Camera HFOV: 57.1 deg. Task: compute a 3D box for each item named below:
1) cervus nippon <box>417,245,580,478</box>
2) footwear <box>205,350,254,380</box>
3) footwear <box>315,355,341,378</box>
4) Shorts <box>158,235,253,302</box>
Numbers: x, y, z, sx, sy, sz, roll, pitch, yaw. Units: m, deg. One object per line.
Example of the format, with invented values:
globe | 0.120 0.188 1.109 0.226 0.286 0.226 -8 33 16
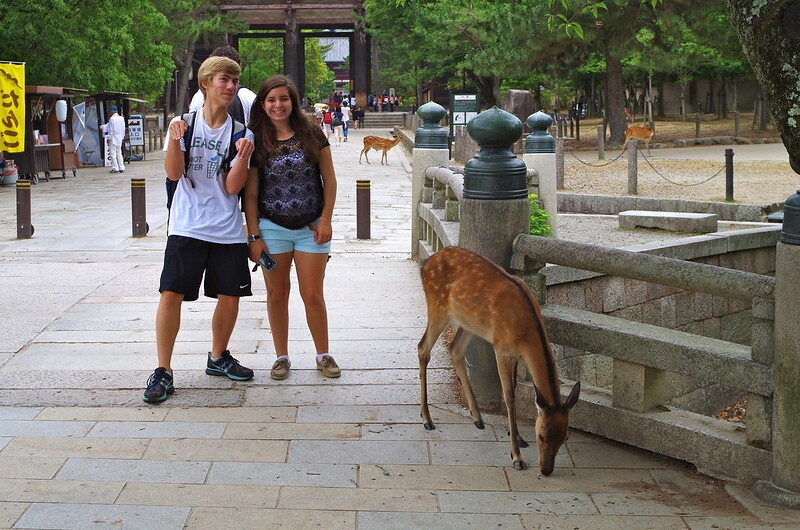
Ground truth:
cervus nippon | 0.614 0.511 4.751 0.975 1.421 1.178 1 0 -13
footwear | -1.313 0.796 5.777 0.451 0.201 0.163 8 4 13
footwear | -0.566 0.792 5.757 0.101 0.099 0.249 -6 11 -31
Shorts | -1.416 0.024 5.381 0.562 0.388 0.211 2 2 -25
